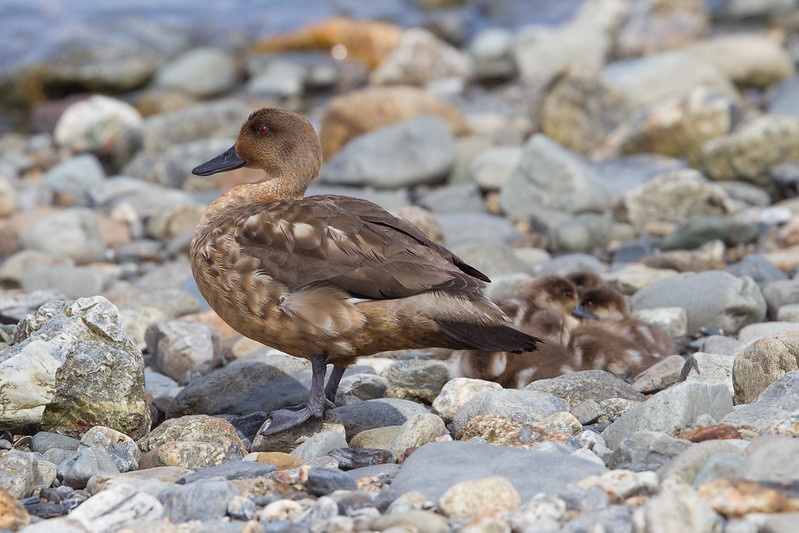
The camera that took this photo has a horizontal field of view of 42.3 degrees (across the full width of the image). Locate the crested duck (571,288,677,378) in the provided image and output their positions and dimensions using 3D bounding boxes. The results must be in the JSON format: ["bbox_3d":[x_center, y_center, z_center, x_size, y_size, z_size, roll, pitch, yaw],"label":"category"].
[{"bbox_3d":[1.511,0.493,7.624,0.609,0.444,0.789,-17,26,-37],"label":"crested duck"}]
